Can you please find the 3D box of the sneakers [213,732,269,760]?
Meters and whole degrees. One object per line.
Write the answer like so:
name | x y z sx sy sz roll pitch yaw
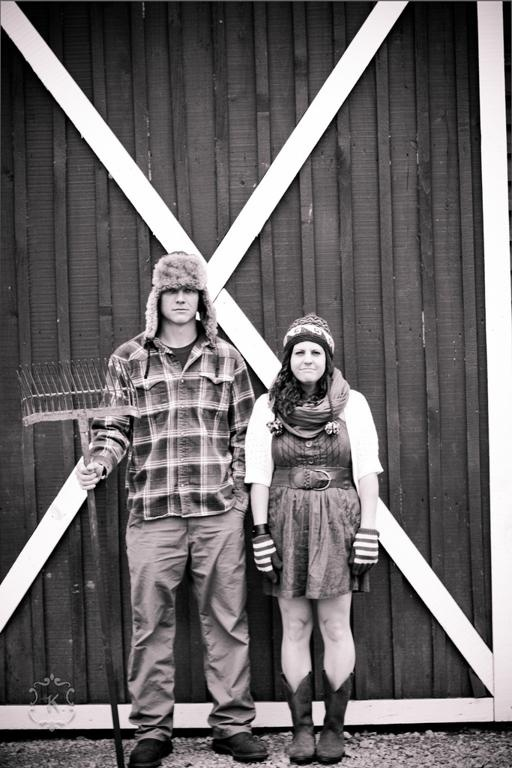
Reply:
sneakers | -0.060 1.394 4.958 0.201 0.076 0.092 -9 -8 41

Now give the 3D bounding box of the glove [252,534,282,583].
glove | 0.039 0.674 4.899 0.107 0.174 0.069 -14 -3 3

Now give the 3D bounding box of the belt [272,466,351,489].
belt | 0.209 0.360 4.893 0.293 0.090 0.117 -1 10 3

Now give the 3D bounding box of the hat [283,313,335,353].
hat | 0.205 -0.200 4.995 0.146 0.099 0.178 1 -16 2

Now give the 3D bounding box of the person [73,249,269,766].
person | -0.280 0.475 4.966 0.562 1.914 0.668 -2 11 -1

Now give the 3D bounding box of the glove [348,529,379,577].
glove | 0.393 0.639 4.850 0.111 0.164 0.044 12 -1 -24

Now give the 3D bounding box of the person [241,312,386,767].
person | 0.223 0.589 4.922 0.511 1.649 0.495 -2 11 -1
